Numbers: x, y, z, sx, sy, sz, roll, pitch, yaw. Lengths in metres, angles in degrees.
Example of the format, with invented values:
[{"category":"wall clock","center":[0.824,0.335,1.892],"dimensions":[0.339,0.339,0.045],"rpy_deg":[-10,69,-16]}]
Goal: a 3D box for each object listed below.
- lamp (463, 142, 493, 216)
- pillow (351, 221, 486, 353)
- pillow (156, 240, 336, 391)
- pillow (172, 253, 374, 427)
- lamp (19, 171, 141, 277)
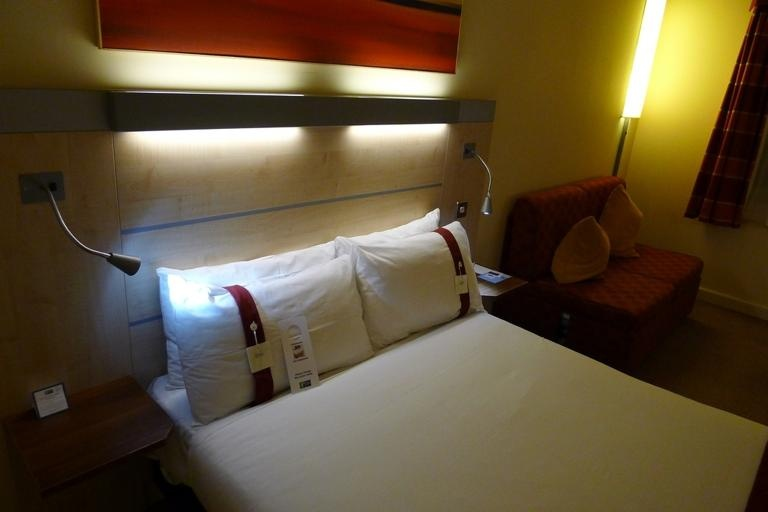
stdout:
[{"category":"lamp","center":[0.660,-0.505,3.600],"dimensions":[0.210,0.581,0.576],"rpy_deg":[4,20,12]},{"category":"pillow","center":[0.234,0.163,3.053],"dimensions":[0.818,0.572,0.310],"rpy_deg":[-16,14,-32]},{"category":"pillow","center":[-0.696,0.319,2.478],"dimensions":[0.637,0.411,0.161],"rpy_deg":[-18,10,-39]},{"category":"pillow","center":[-0.519,0.401,2.642],"dimensions":[1.008,0.684,0.298],"rpy_deg":[-12,9,-36]},{"category":"lamp","center":[-1.276,-0.120,2.173],"dimensions":[0.420,0.445,0.221],"rpy_deg":[11,23,30]}]
